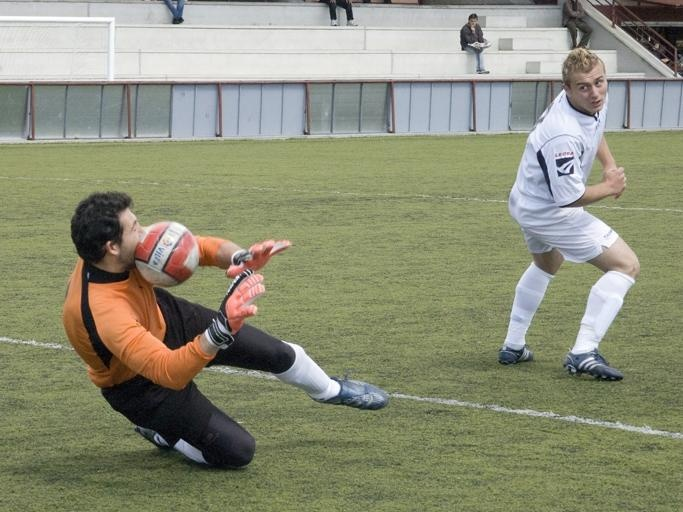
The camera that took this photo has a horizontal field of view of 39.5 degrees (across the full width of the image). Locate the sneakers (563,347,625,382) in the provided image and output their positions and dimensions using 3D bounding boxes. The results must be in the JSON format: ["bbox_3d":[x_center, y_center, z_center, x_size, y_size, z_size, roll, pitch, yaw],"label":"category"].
[{"bbox_3d":[1.867,0.799,7.121,0.472,0.219,0.176,10,-19,15],"label":"sneakers"}]

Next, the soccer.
[{"bbox_3d":[-1.062,-0.012,5.763,0.387,0.375,0.186,-2,7,-12],"label":"soccer"}]

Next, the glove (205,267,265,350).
[{"bbox_3d":[-0.618,0.290,5.526,0.189,0.465,0.307,32,30,-30],"label":"glove"}]

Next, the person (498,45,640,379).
[{"bbox_3d":[1.743,-0.316,7.181,0.850,2.385,0.798,-4,8,-29],"label":"person"}]

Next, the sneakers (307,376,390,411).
[{"bbox_3d":[0.050,0.920,6.410,0.558,0.179,0.222,4,-26,-10],"label":"sneakers"}]

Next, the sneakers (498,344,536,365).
[{"bbox_3d":[1.398,0.742,7.405,0.310,0.121,0.110,-4,13,-29],"label":"sneakers"}]
